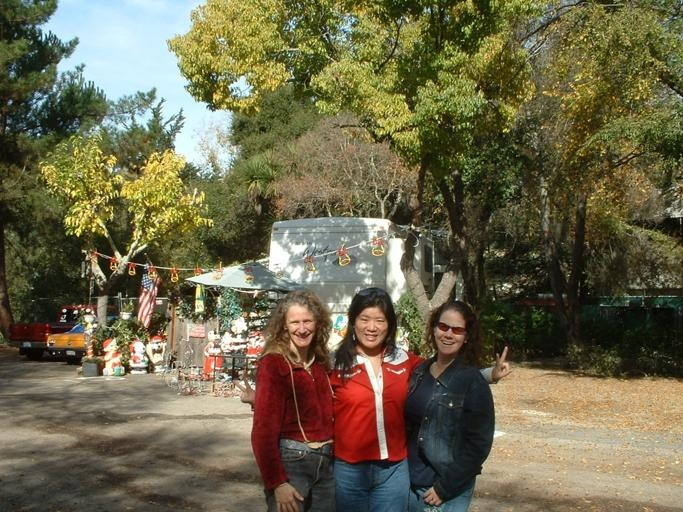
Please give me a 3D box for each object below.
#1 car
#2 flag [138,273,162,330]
[{"bbox_3d":[-10.770,2.924,22.233,2.474,1.963,4.542,0,-1,-29],"label":"car"},{"bbox_3d":[-5.603,1.205,17.427,0.497,2.068,0.175,13,-45,-20],"label":"flag"}]
